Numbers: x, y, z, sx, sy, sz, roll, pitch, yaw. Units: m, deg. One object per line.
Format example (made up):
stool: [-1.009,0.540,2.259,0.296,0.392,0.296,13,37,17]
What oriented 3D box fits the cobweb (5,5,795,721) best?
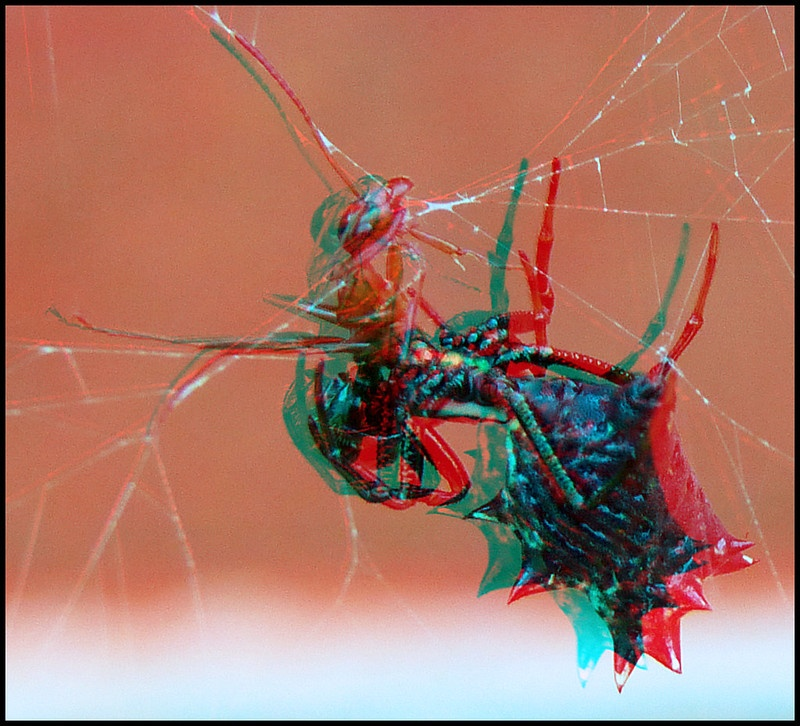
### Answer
cobweb: [-0.384,0.017,2.965,1.781,2.018,0.516,-14,-13,25]
